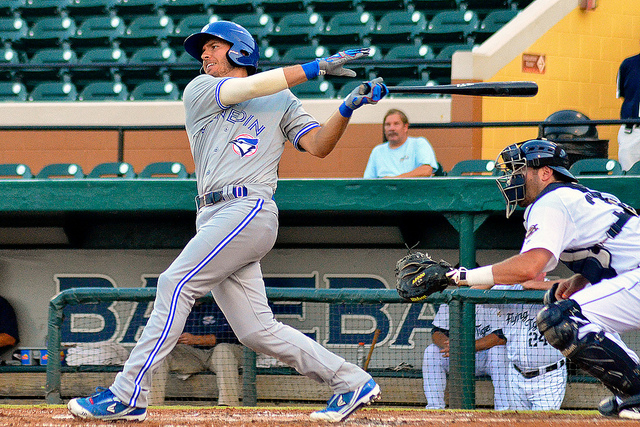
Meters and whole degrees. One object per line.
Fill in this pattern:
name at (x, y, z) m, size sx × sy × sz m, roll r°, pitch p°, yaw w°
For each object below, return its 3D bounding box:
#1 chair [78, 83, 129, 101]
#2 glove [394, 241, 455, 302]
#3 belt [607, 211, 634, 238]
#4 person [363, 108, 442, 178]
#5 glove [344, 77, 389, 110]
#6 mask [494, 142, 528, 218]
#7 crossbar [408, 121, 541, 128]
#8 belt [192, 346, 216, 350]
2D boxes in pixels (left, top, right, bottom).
chair at (-3.005, -1.716, 21.810) m, size 0.543 × 0.153 × 0.336 m, roll -1°, pitch -2°, yaw 0°
glove at (1.108, 0.638, 16.348) m, size 0.623 × 0.579 × 0.289 m, roll -2°, pitch 0°, yaw 6°
belt at (3.114, 0.098, 16.195) m, size 0.115 × 0.417 × 0.048 m, roll 41°, pitch -16°, yaw 6°
person at (0.995, -0.805, 19.059) m, size 0.688 × 0.930 × 1.179 m, roll -1°, pitch -6°, yaw -44°
glove at (0.509, -1.255, 16.236) m, size 0.529 × 0.318 × 0.164 m, roll -2°, pitch 0°, yaw -25°
mask at (2.040, -0.326, 16.484) m, size 0.355 × 0.761 × 0.486 m, roll -4°, pitch -3°, yaw 7°
crossbar at (1.895, -1.099, 19.072) m, size 1.597 × 0.075 × 0.353 m, roll -2°, pitch 0°, yaw 3°
belt at (-1.390, 1.606, 18.741) m, size 0.258 × 0.038 × 0.027 m, roll 4°, pitch -39°, yaw -18°
